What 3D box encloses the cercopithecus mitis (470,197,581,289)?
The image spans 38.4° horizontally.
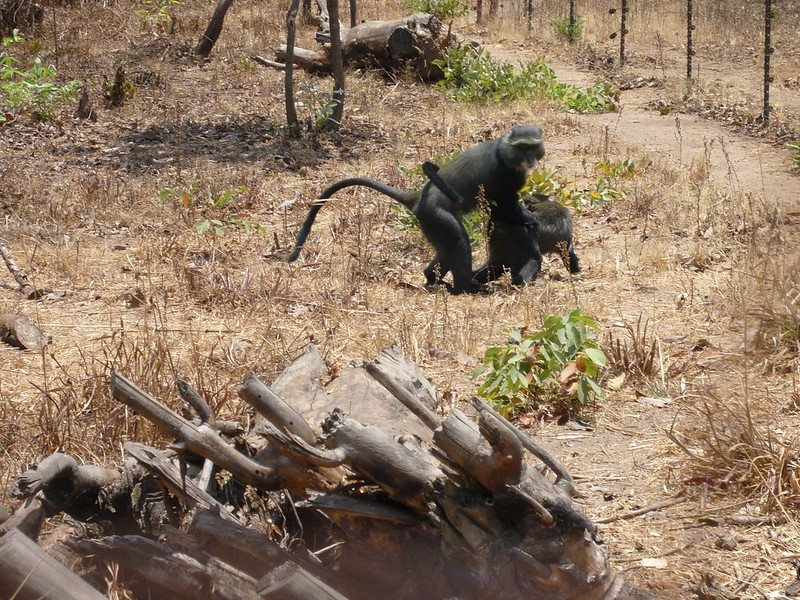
[{"bbox_3d":[1.418,-0.727,11.904,1.495,1.039,0.542,-15,15,-36],"label":"cercopithecus mitis"}]
